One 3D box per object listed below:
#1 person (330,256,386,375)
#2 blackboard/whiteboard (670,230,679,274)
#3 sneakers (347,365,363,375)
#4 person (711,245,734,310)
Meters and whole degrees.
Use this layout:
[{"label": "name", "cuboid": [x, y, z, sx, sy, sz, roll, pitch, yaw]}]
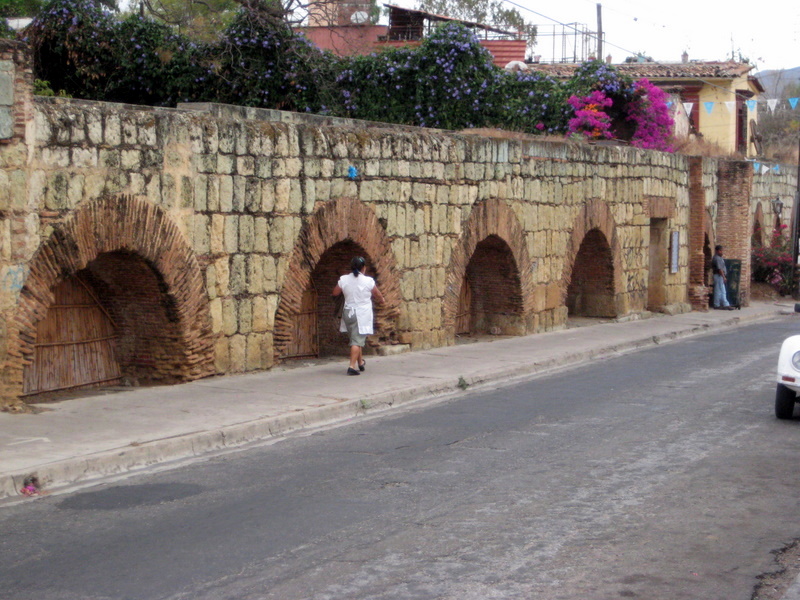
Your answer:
[{"label": "person", "cuboid": [-0.699, 0.251, 14.693, 0.606, 1.862, 0.726, 11, 16, 41]}, {"label": "blackboard/whiteboard", "cuboid": [8.231, -1.436, 27.932, 0.177, 1.309, 0.767, 8, 14, 31]}, {"label": "sneakers", "cuboid": [-0.710, 1.099, 14.572, 0.216, 0.157, 0.358, 2, 14, 5]}, {"label": "person", "cuboid": [10.502, -0.749, 30.357, 0.738, 2.092, 1.285, 5, 13, 20]}]
